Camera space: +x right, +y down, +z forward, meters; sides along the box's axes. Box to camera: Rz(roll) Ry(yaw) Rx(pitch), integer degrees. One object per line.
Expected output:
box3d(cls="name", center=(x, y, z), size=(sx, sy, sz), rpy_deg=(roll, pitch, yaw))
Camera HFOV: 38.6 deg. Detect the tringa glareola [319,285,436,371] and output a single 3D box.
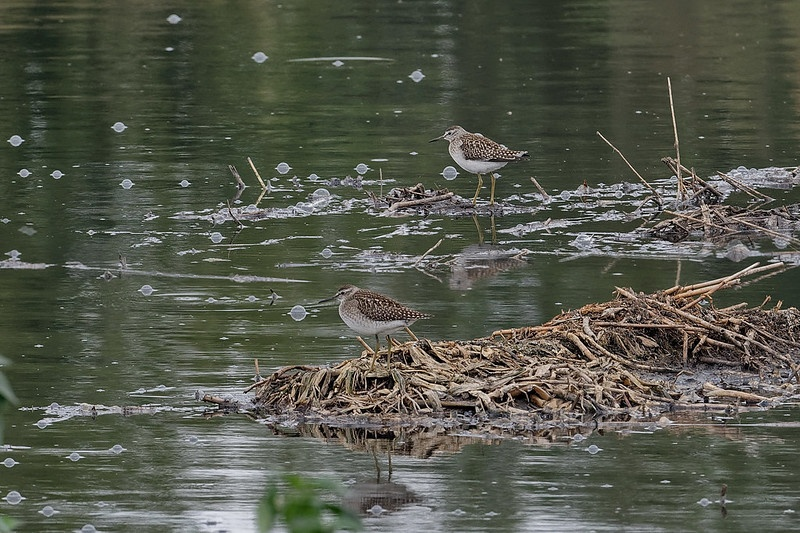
box3d(cls="tringa glareola", center=(-0.284, 0.492, 10.700), size=(1.147, 0.420, 0.465), rpy_deg=(5, 90, -13))
